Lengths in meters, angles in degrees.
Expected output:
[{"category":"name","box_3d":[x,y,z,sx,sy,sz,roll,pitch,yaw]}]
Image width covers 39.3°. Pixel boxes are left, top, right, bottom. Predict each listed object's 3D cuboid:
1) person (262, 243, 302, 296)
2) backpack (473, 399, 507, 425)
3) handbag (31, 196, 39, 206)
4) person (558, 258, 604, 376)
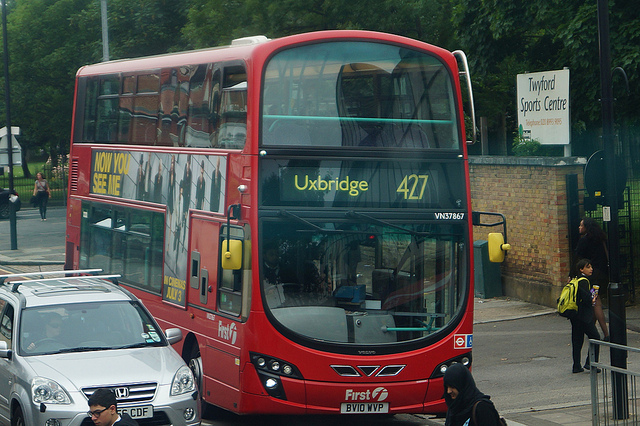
[{"category":"person","box_3d":[-0.691,0.945,15.007,0.778,0.798,0.189,-3,1,-14]},{"category":"backpack","box_3d":[2.298,2.653,11.927,0.217,0.408,0.609,-1,1,43]},{"category":"handbag","box_3d":[-14.444,-0.627,45.348,0.435,0.579,0.541,1,-5,-26]},{"category":"person","box_3d":[5.185,2.105,17.981,0.764,2.365,0.618,-2,1,14]}]
